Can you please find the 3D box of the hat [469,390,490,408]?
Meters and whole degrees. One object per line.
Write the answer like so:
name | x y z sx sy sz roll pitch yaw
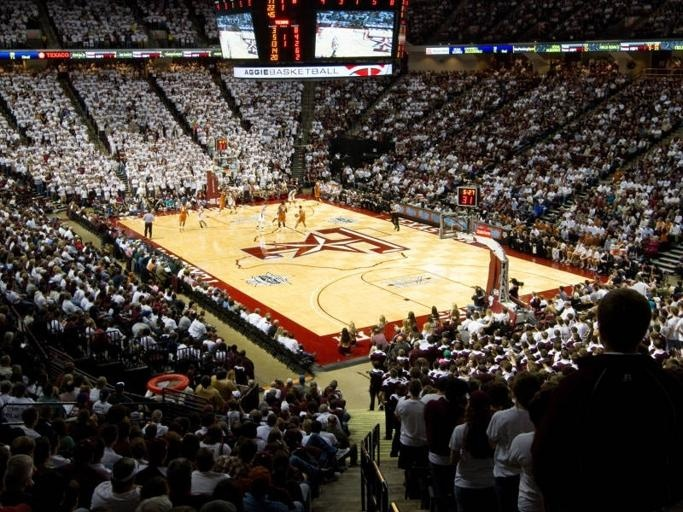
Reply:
hat | 1.378 1.423 5.722 0.163 0.096 0.166 4 18 41

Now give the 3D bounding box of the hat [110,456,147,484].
hat | -2.174 2.145 5.762 0.227 0.252 0.171 -11 18 -38
